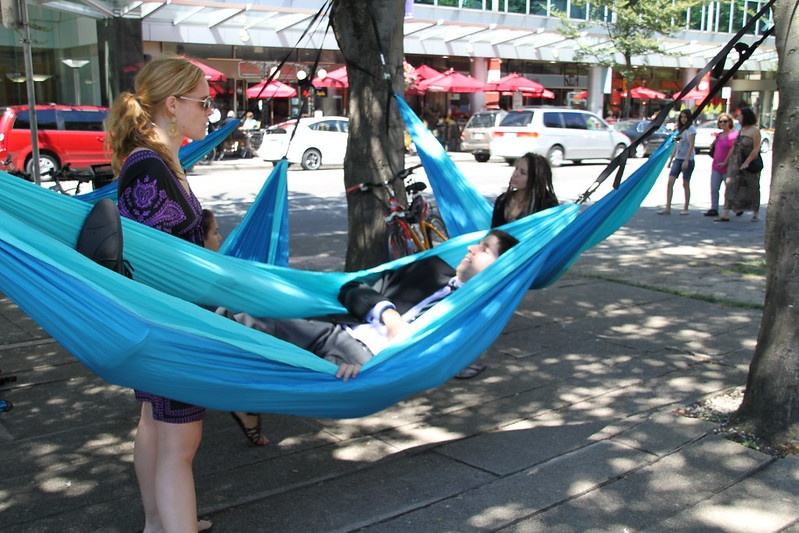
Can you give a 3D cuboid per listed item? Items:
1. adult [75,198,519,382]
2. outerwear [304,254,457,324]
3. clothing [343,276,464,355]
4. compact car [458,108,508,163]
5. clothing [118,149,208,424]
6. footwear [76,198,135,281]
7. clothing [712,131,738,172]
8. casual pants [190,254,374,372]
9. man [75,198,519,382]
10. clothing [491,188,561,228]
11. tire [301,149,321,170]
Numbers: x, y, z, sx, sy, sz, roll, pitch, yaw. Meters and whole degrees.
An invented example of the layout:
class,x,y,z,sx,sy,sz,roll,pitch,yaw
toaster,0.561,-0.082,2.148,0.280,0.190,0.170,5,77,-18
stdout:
class,x,y,z,sx,sy,sz,roll,pitch,yaw
adult,-0.570,0.228,4.527,2.276,0.675,1.136,9,-3,-12
outerwear,-0.031,0.085,4.946,0.756,0.201,0.508,-18,36,-5
clothing,0.049,0.315,4.654,0.769,0.386,0.189,-25,55,-11
compact car,2.482,-4.097,21.509,1.108,0.799,2.087,5,21,25
clothing,-1.225,0.077,3.638,0.430,1.364,0.714,-4,15,-19
footwear,-1.527,-0.151,3.482,0.331,0.366,0.144,12,18,39
clothing,5.677,-2.011,11.961,0.265,0.574,0.476,-10,8,-22
casual pants,-0.581,0.346,4.334,0.862,0.192,0.437,15,8,4
man,-0.604,0.216,4.538,2.276,0.675,1.136,9,-3,-12
clothing,1.108,-0.492,5.978,0.378,0.414,0.246,15,-8,27
tire,-2.440,-2.930,18.916,0.646,0.537,0.231,2,12,-27
